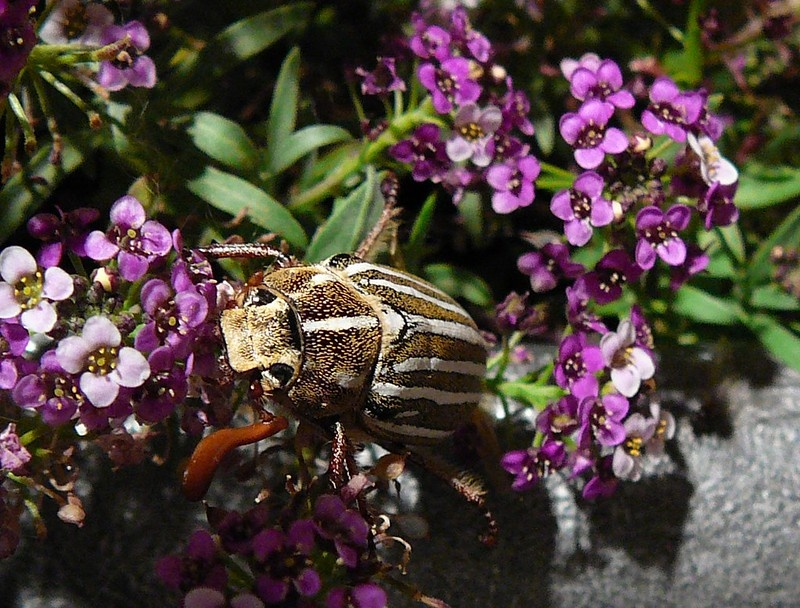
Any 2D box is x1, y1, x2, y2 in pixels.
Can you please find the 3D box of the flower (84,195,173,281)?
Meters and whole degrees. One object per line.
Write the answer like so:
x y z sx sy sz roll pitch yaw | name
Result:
-0.525 -0.124 1.829 0.139 0.055 0.143 33 74 20 | flower

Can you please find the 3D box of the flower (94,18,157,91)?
-0.574 -0.518 1.931 0.128 0.133 0.038 -26 100 -2 | flower

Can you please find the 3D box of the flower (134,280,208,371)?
-0.426 0.033 1.777 0.112 0.101 0.139 5 66 10 | flower
